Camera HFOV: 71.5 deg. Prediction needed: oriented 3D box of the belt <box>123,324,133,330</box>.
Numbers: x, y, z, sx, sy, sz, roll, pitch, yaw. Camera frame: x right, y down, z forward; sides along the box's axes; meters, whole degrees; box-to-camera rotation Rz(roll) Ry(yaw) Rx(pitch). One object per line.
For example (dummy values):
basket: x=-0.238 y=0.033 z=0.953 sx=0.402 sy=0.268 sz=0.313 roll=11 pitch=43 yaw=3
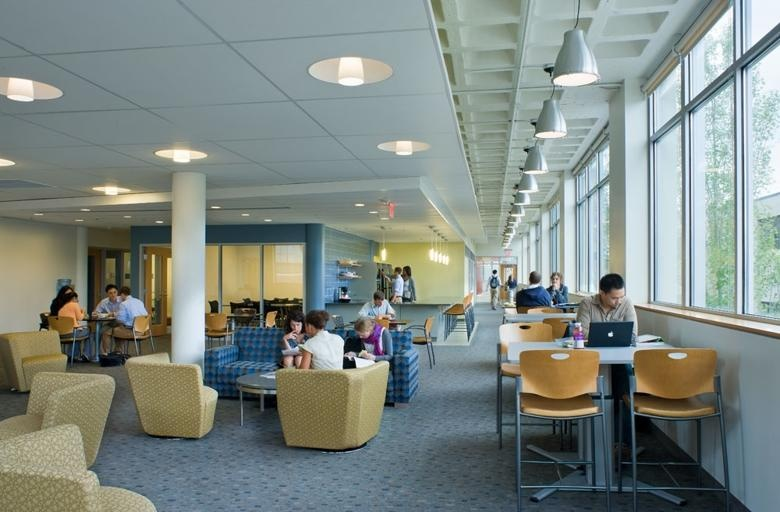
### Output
belt: x=-5.126 y=1.393 z=10.573 sx=0.144 sy=0.028 sz=0.130 roll=5 pitch=5 yaw=1

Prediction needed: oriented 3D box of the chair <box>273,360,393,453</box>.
chair: x=-0.569 y=1.580 z=5.941 sx=1.021 sy=0.810 sz=1.215 roll=0 pitch=-8 yaw=12

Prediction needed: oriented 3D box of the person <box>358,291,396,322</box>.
person: x=-0.204 y=0.939 z=9.790 sx=0.686 sy=0.739 sz=0.549 roll=0 pitch=-3 yaw=-8

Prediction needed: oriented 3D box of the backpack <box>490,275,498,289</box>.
backpack: x=4.763 y=1.199 z=24.594 sx=0.348 sy=0.711 sz=0.999 roll=0 pitch=2 yaw=8

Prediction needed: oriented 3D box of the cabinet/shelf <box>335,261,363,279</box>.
cabinet/shelf: x=-1.181 y=0.418 z=16.352 sx=0.485 sy=0.671 sz=1.359 roll=0 pitch=2 yaw=11

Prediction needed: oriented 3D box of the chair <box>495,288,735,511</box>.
chair: x=2.030 y=1.463 z=4.792 sx=1.771 sy=1.365 sz=1.016 roll=0 pitch=3 yaw=11

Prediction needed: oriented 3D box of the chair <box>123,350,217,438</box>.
chair: x=-2.490 y=1.646 z=6.317 sx=1.126 sy=0.844 sz=0.880 roll=0 pitch=-4 yaw=-8

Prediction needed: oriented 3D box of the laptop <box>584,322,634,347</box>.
laptop: x=2.164 y=0.726 z=5.242 sx=0.424 sy=0.212 sz=0.271 roll=0 pitch=0 yaw=5

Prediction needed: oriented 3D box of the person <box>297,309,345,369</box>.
person: x=-0.828 y=1.016 z=6.191 sx=0.569 sy=0.721 sz=0.548 roll=-2 pitch=4 yaw=20

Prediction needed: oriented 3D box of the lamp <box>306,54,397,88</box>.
lamp: x=-0.381 y=-1.773 z=5.180 sx=0.788 sy=0.230 sz=0.308 roll=-1 pitch=2 yaw=-5

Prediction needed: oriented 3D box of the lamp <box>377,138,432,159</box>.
lamp: x=0.169 y=-1.494 z=7.510 sx=0.745 sy=0.136 sz=0.544 roll=-1 pitch=2 yaw=-7
